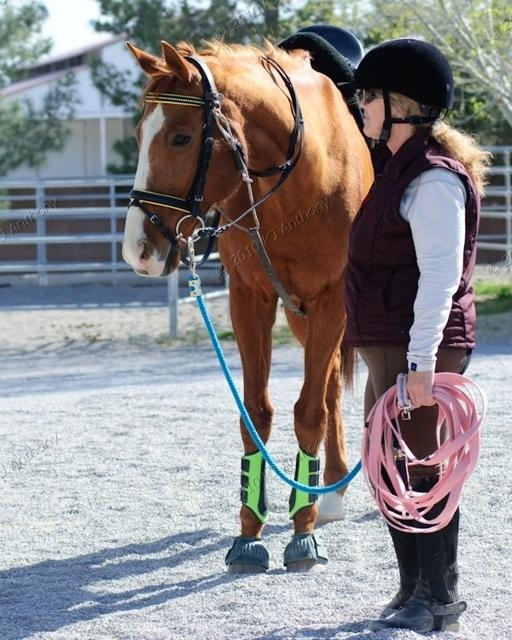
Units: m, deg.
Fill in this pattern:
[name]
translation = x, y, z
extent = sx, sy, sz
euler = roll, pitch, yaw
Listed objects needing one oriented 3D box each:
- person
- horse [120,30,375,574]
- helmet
[person]
translation = 0.556, 0.048, 4.321
extent = 0.441, 1.962, 0.605
euler = -1, 13, -8
[horse]
translation = 0.042, -0.082, 4.991
extent = 0.785, 1.963, 1.216
euler = 8, 14, 27
[helmet]
translation = 0.468, -0.814, 4.219
extent = 0.338, 0.148, 0.213
euler = 13, 12, 1
